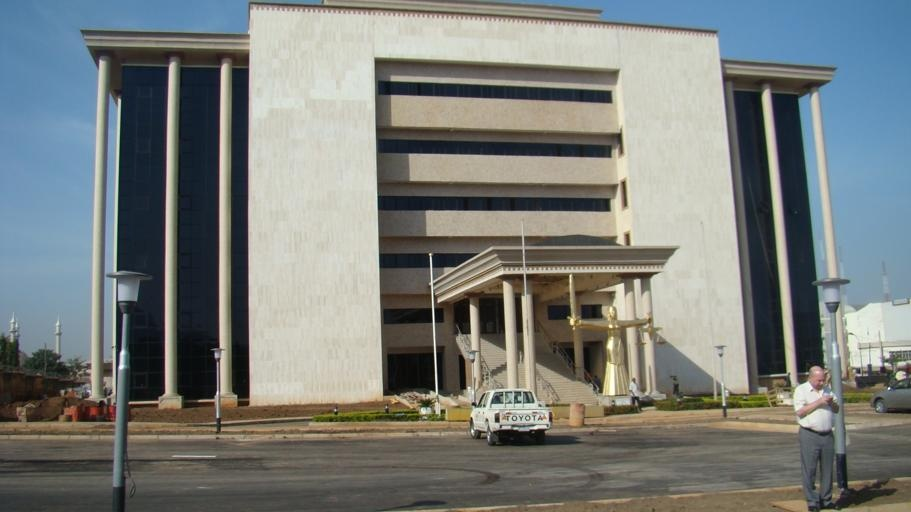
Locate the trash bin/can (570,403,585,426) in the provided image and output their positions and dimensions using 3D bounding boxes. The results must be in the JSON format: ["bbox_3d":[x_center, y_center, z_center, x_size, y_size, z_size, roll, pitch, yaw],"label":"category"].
[{"bbox_3d":[9.087,12.006,68.885,1.117,1.647,1.084,-3,-9,11],"label":"trash bin/can"}]

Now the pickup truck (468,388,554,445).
[{"bbox_3d":[3.351,10.759,60.874,5.349,3.678,2.865,-9,-12,42],"label":"pickup truck"}]
